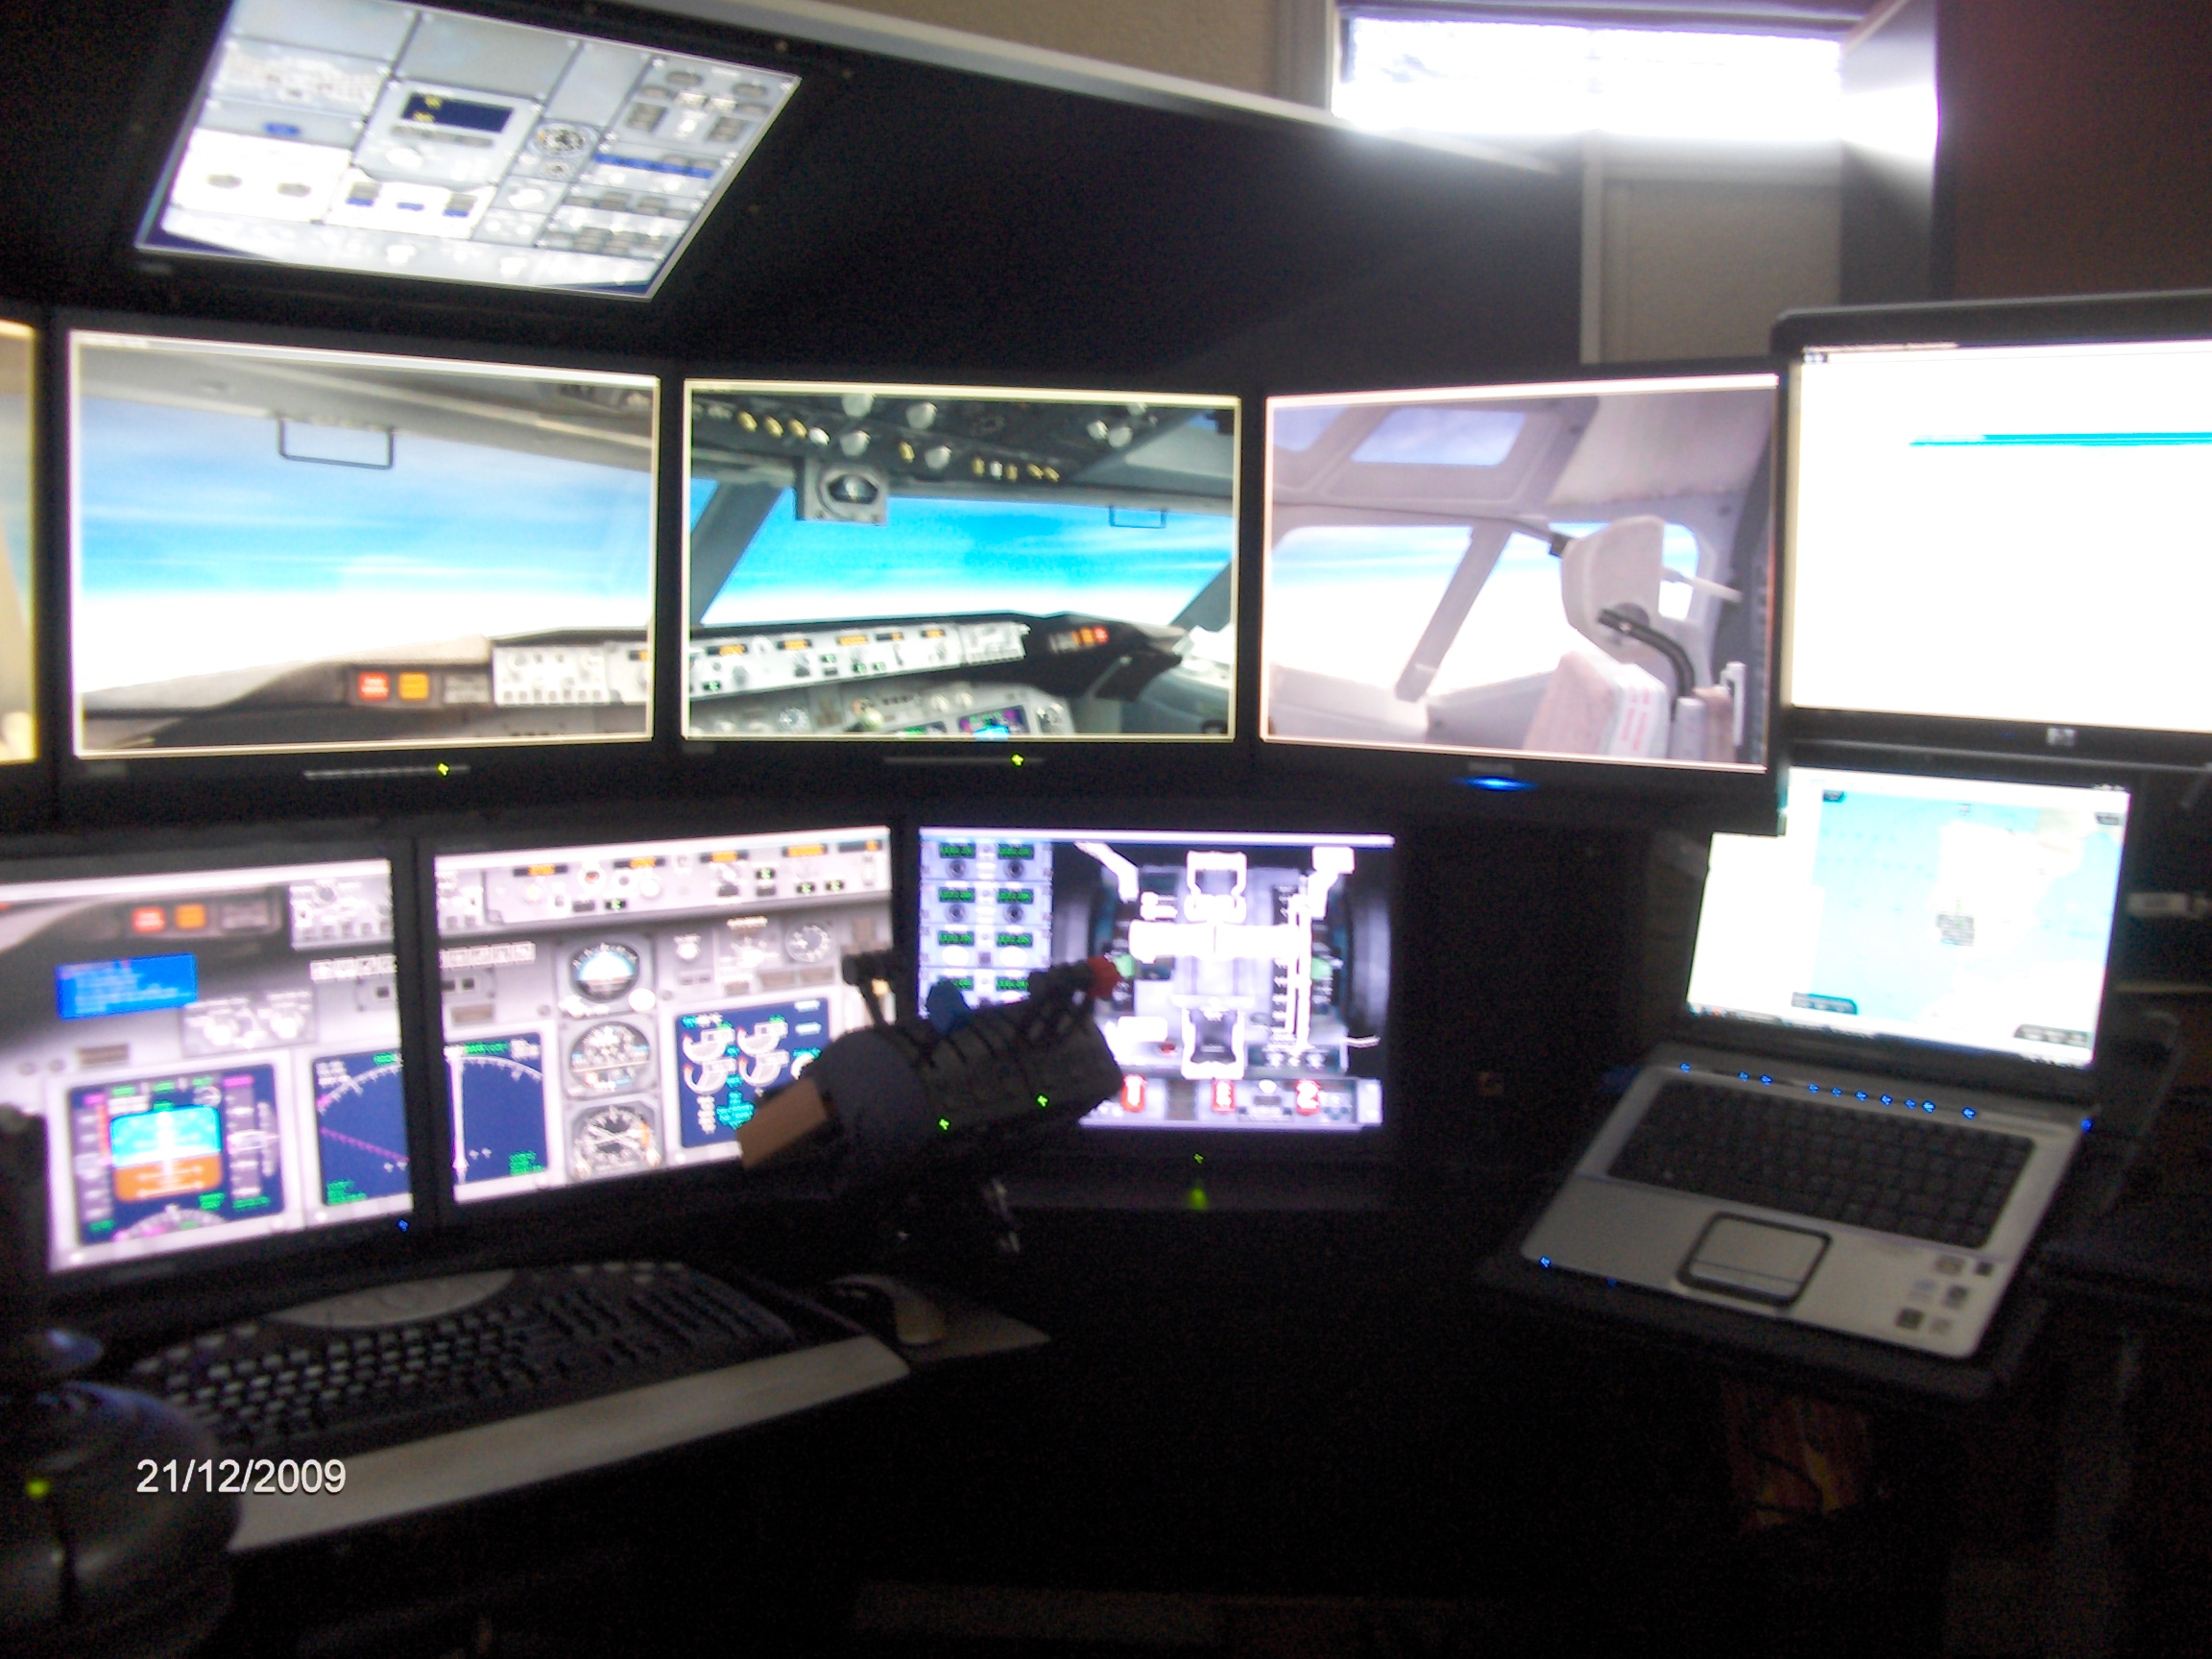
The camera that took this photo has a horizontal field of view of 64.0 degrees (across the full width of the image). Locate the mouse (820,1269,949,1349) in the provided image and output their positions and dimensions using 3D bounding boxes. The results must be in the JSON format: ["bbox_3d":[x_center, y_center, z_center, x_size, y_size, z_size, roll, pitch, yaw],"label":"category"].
[{"bbox_3d":[-0.216,0.510,1.882,0.049,0.042,0.178,-1,-4,-23],"label":"mouse"}]

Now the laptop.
[{"bbox_3d":[0.782,0.267,1.834,0.488,0.283,0.656,10,42,40],"label":"laptop"}]

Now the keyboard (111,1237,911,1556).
[{"bbox_3d":[-0.576,0.537,1.756,0.667,0.065,0.375,-6,12,-29],"label":"keyboard"}]
